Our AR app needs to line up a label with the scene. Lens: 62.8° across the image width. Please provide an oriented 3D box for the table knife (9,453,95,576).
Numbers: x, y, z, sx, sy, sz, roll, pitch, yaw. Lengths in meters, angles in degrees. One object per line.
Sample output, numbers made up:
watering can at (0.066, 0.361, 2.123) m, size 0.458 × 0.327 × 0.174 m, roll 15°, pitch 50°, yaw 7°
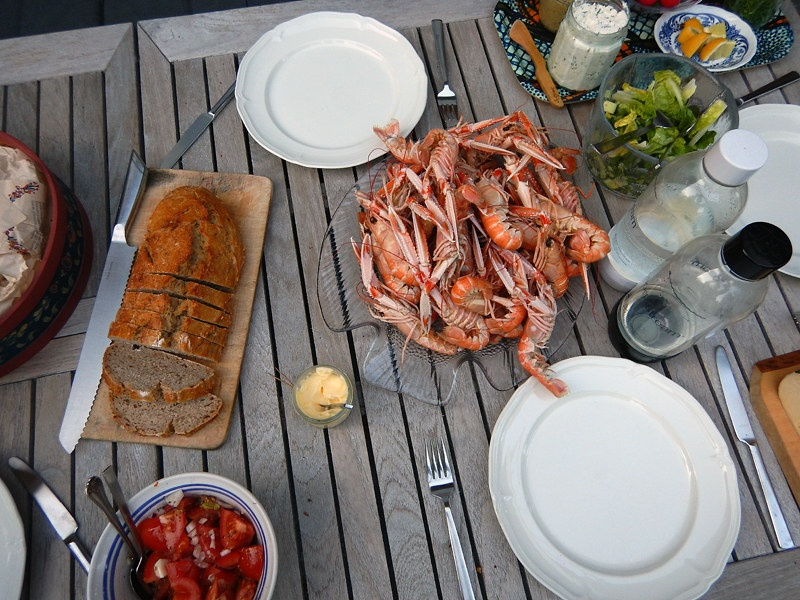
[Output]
table knife at (-1.026, 0.649, 1.931) m, size 0.042 × 0.033 × 0.380 m, roll -29°, pitch 72°, yaw -22°

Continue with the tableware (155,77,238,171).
tableware at (-0.729, -0.622, 2.348) m, size 0.052 × 0.022 × 0.418 m, roll 29°, pitch 75°, yaw 14°

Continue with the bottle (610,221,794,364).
bottle at (0.847, -0.016, 1.909) m, size 0.340 × 0.488 × 0.261 m, roll -26°, pitch 74°, yaw -11°

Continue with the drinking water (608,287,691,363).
drinking water at (0.771, 0.065, 2.037) m, size 0.179 × 0.190 × 0.225 m, roll 1°, pitch 91°, yaw 16°

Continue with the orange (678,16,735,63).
orange at (1.082, -0.928, 2.389) m, size 0.133 × 0.070 × 0.179 m, roll 16°, pitch 77°, yaw 4°

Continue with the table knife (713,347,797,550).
table knife at (1.065, 0.429, 2.021) m, size 0.086 × 0.035 × 0.748 m, roll -7°, pitch 66°, yaw 6°

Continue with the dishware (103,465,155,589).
dishware at (-0.729, 0.655, 1.818) m, size 0.084 × 0.052 × 0.444 m, roll -21°, pitch 108°, yaw -29°

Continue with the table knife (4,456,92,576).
table knife at (-1.038, 0.652, 1.931) m, size 0.045 × 0.031 × 0.376 m, roll -30°, pitch 73°, yaw -21°

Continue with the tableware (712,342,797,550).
tableware at (1.069, 0.429, 2.023) m, size 0.086 × 0.035 × 0.751 m, roll -7°, pitch 66°, yaw 6°
